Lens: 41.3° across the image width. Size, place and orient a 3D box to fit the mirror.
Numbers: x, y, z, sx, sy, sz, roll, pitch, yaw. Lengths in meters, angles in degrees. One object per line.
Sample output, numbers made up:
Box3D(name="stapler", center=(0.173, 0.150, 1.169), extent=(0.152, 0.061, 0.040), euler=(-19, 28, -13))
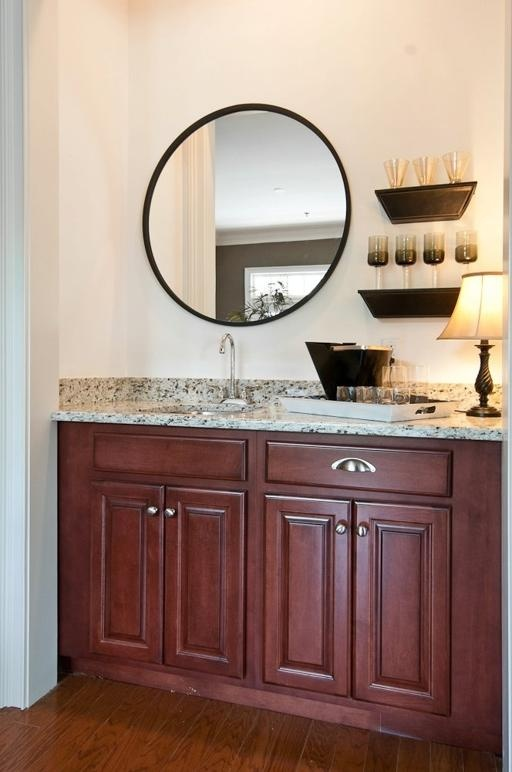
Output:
Box3D(name="mirror", center=(0.001, -0.633, 2.457), extent=(0.801, 0.899, 0.037), euler=(2, 2, 21))

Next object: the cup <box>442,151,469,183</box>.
Box3D(name="cup", center=(0.627, -0.679, 2.142), extent=(0.078, 0.099, 0.158), euler=(1, 6, 17))

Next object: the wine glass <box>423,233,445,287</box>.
Box3D(name="wine glass", center=(0.574, -0.411, 2.202), extent=(0.071, 0.171, 0.118), euler=(1, 6, 15))

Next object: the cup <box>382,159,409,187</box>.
Box3D(name="cup", center=(0.447, -0.689, 2.220), extent=(0.088, 0.107, 0.100), euler=(0, 1, -1))

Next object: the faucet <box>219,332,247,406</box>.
Box3D(name="faucet", center=(-0.084, -0.056, 2.476), extent=(0.091, 0.266, 0.172), euler=(-1, 5, -6))

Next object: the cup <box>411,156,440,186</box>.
Box3D(name="cup", center=(0.530, -0.675, 2.135), extent=(0.073, 0.092, 0.050), euler=(1, 5, 12))
